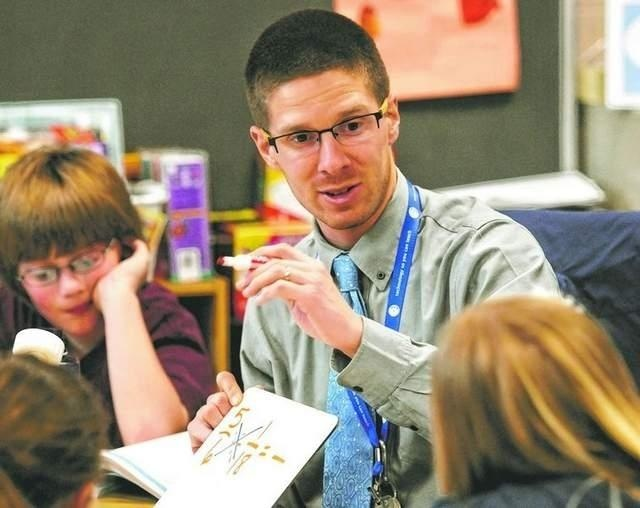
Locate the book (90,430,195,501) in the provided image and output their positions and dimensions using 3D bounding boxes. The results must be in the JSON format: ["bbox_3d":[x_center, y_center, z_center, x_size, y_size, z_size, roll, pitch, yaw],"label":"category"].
[{"bbox_3d":[-0.427,0.520,1.967,0.200,0.069,0.213,24,11,20],"label":"book"}]

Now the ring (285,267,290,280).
[{"bbox_3d":[-0.069,0.040,1.599,0.004,0.017,0.017,9,22,-4],"label":"ring"}]
